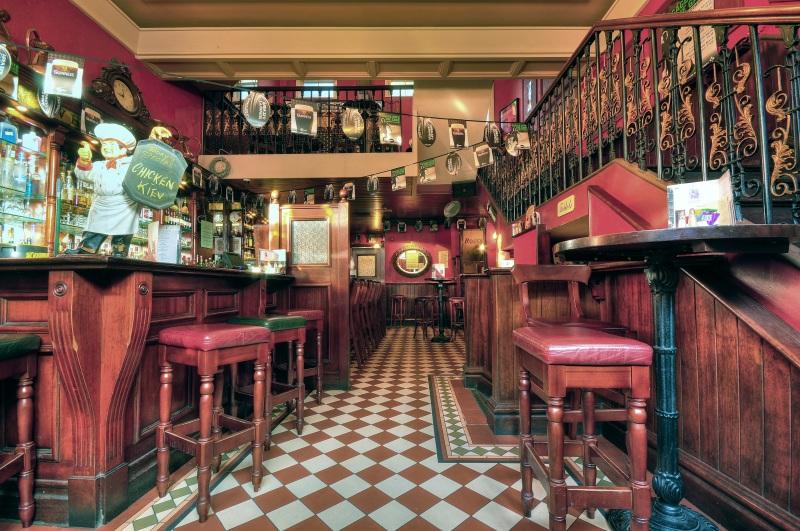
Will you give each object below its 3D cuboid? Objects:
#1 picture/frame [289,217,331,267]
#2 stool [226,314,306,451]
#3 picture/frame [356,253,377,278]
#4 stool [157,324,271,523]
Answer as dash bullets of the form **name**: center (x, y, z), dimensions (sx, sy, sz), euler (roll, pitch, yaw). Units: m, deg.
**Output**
- **picture/frame**: center (-1.067, -0.263, 6.931), dimensions (0.574, 0.654, 0.054), euler (-1, -2, 1)
- **stool**: center (-1.307, 1.047, 5.689), dimensions (0.834, 1.015, 0.841), euler (-2, -2, -14)
- **picture/frame**: center (-0.779, 0.021, 13.991), dimensions (0.577, 0.622, 0.085), euler (-1, -2, 1)
- **stool**: center (-1.571, 1.265, 4.991), dimensions (0.940, 1.517, 0.699), euler (-1, -1, -11)
